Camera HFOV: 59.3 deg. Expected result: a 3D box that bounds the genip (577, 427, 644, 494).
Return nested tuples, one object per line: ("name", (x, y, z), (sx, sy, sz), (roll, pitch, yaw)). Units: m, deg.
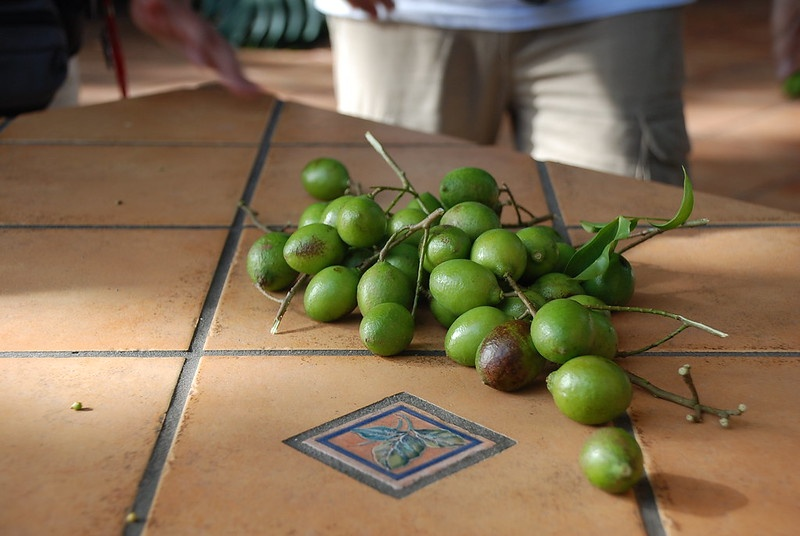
("genip", (0.199, 0.186, 0.670), (0.048, 0.048, 0.063), (-2, -13, 5))
